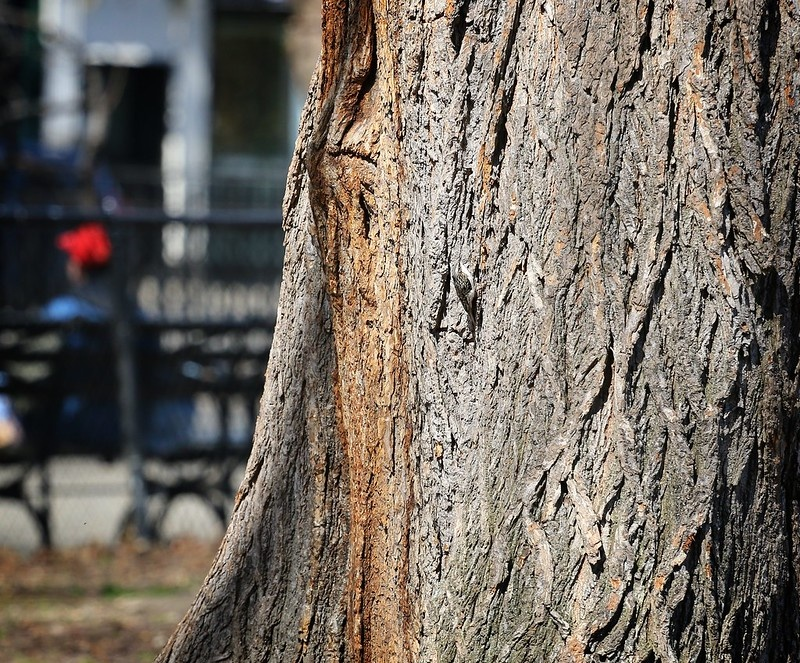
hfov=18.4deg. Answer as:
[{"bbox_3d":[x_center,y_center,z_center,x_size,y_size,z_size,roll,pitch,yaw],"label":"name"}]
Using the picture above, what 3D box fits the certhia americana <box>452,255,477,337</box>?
[{"bbox_3d":[0.282,-0.154,10.501,0.083,0.341,0.082,-5,4,34],"label":"certhia americana"}]
